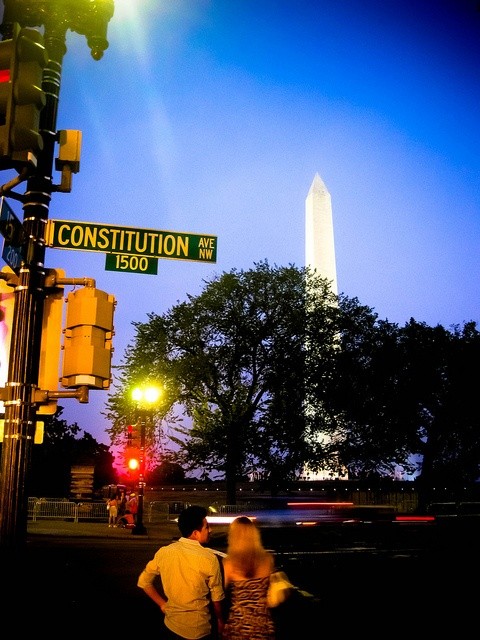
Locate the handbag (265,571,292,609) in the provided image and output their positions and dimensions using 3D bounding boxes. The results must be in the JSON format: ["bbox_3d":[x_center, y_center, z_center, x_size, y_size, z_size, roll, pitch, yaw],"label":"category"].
[{"bbox_3d":[0.266,1.891,4.780,0.147,0.235,0.200,0,-13,4],"label":"handbag"}]
